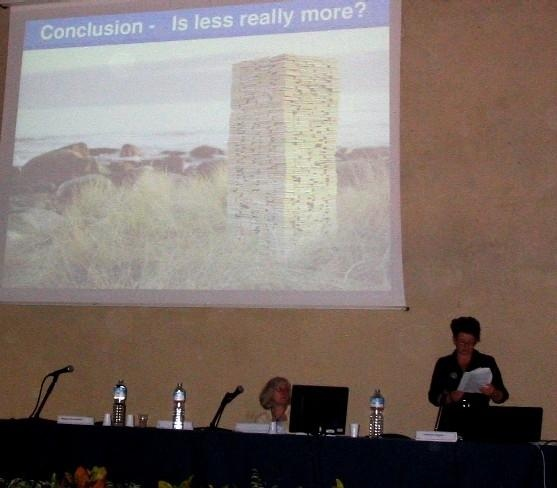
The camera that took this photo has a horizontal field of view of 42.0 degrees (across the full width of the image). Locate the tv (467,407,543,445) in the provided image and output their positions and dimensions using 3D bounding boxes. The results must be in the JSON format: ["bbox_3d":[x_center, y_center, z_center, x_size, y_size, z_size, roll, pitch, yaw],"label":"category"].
[{"bbox_3d":[1.154,0.925,3.679,0.290,0.177,0.207,0,-5,8],"label":"tv"}]

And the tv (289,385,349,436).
[{"bbox_3d":[0.234,0.887,4.119,0.354,0.316,0.259,3,-5,6],"label":"tv"}]

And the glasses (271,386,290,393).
[{"bbox_3d":[0.015,0.961,4.782,0.119,0.077,0.085,2,-9,0],"label":"glasses"}]

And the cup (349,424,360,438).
[{"bbox_3d":[0.388,0.979,3.769,0.068,0.076,0.070,1,-10,0],"label":"cup"}]
